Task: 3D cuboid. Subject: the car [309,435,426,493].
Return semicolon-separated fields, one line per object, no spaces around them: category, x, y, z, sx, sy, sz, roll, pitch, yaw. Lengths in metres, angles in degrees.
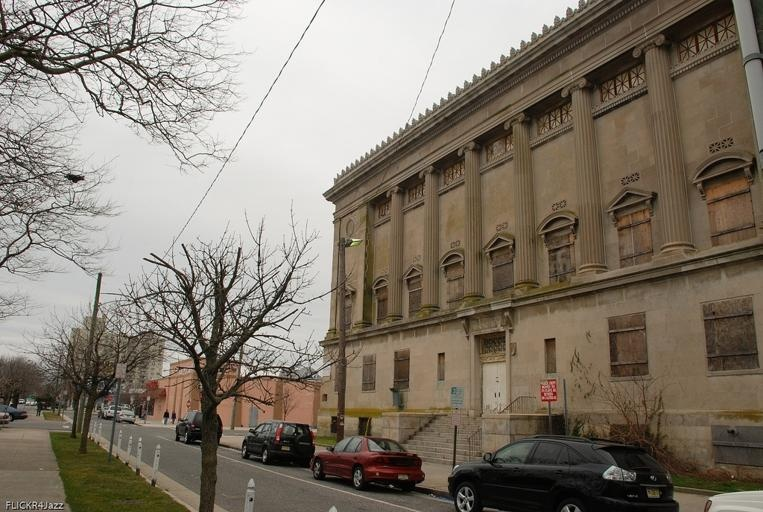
car;-0.645;8.467;26.020;4.305;2.050;1.608;-13;-26;36

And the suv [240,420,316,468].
suv;-5.271;9.395;32.076;2.043;1.498;3.739;11;-17;-31
